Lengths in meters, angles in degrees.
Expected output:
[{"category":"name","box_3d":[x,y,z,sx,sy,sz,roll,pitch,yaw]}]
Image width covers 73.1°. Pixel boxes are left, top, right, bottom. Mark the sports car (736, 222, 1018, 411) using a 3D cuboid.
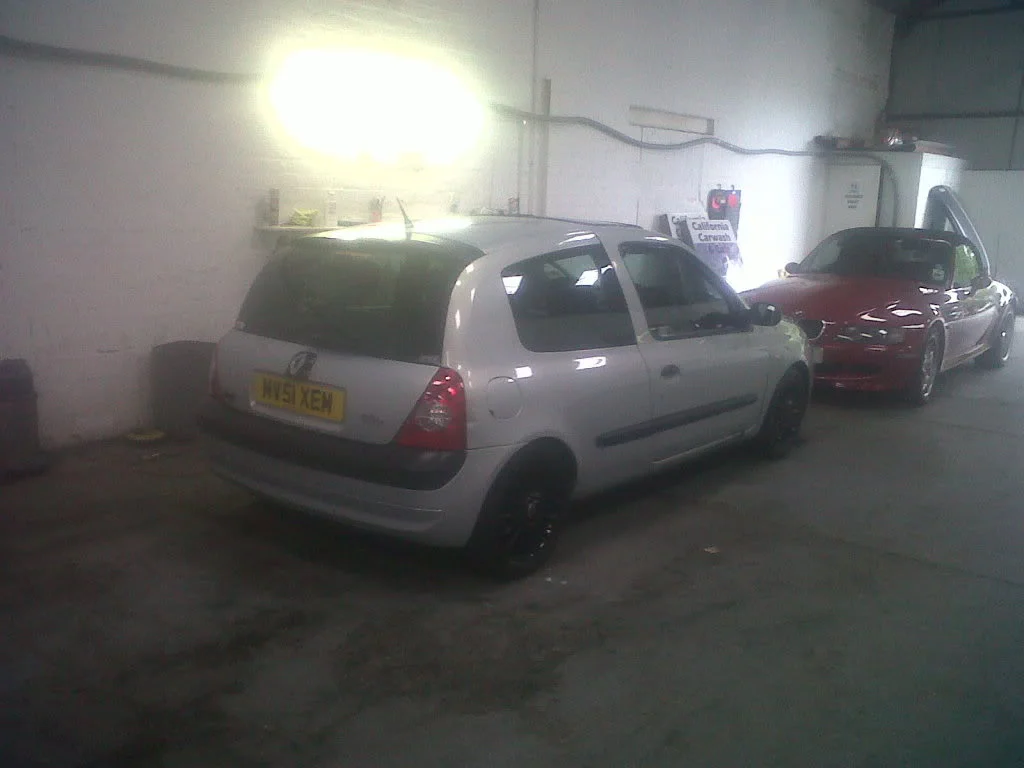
[{"category":"sports car","box_3d":[4.273,-0.919,7.772,3.521,1.412,2.014,-10,15,-42]}]
